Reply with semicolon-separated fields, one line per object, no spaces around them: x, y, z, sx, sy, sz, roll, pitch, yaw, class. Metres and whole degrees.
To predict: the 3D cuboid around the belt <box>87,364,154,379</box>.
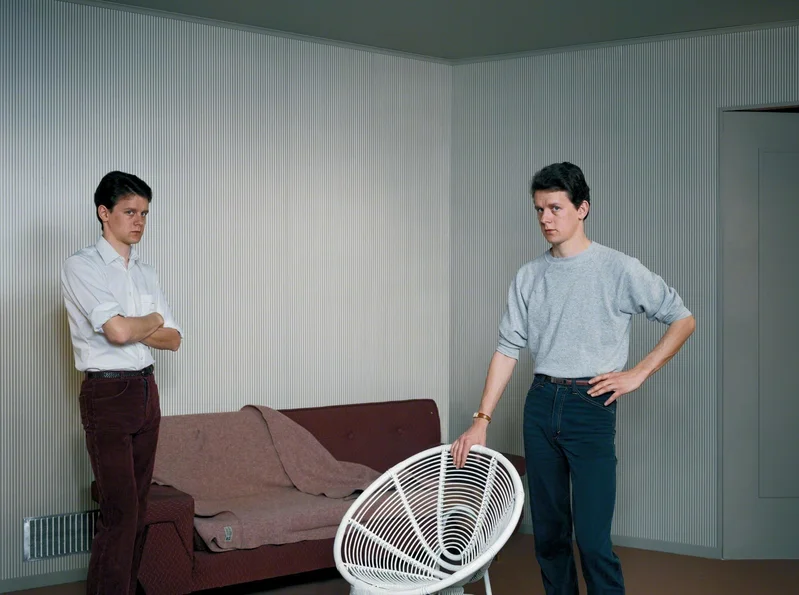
-1.338;0.365;3.275;0.295;0.051;0.100;-4;5;-22;belt
